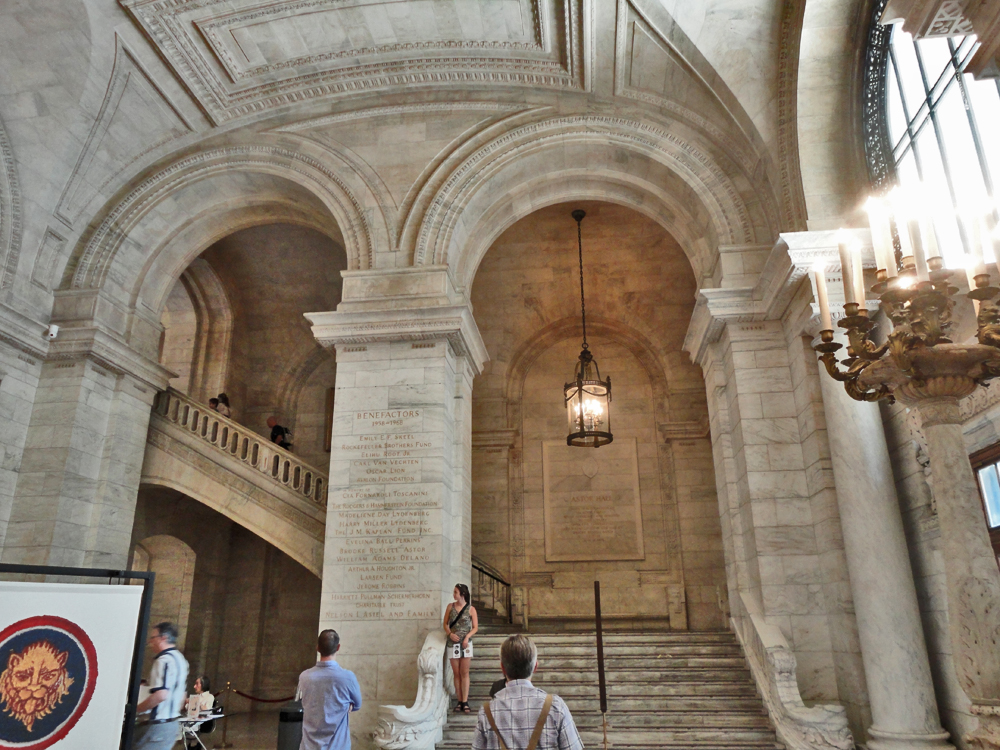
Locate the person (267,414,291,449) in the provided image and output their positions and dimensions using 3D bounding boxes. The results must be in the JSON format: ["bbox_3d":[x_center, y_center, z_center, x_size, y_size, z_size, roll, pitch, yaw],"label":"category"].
[{"bbox_3d":[-4.227,1.089,14.719,0.280,0.779,0.351,-24,-36,16],"label":"person"}]
